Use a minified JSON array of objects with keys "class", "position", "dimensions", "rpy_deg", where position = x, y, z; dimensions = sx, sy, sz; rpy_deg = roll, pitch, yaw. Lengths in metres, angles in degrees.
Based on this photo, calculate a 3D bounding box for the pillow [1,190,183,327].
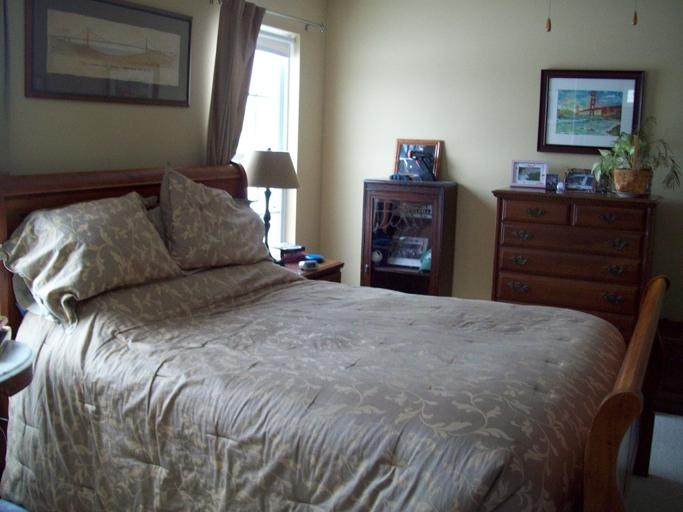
[{"class":"pillow","position":[-1.107,-0.032,2.405],"dimensions":[0.560,0.160,0.572],"rpy_deg":[-25,68,-39]}]

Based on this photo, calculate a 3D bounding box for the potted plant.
[{"class":"potted plant","position":[2.138,-0.726,3.960],"dimensions":[0.446,0.494,0.652],"rpy_deg":[-2,14,9]}]

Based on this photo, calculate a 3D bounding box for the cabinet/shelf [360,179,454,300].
[{"class":"cabinet/shelf","position":[0.532,-0.152,4.251],"dimensions":[0.699,1.331,0.442],"rpy_deg":[6,12,28]}]

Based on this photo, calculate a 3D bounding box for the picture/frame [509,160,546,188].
[{"class":"picture/frame","position":[1.487,-0.657,4.255],"dimensions":[0.209,0.196,0.023],"rpy_deg":[5,7,27]}]

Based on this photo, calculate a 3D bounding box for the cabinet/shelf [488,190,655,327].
[{"class":"cabinet/shelf","position":[1.595,-0.003,3.615],"dimensions":[0.780,0.838,0.344],"rpy_deg":[5,8,26]}]

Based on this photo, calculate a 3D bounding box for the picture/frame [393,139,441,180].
[{"class":"picture/frame","position":[0.667,-0.832,4.588],"dimensions":[0.321,0.312,0.032],"rpy_deg":[8,4,23]}]
